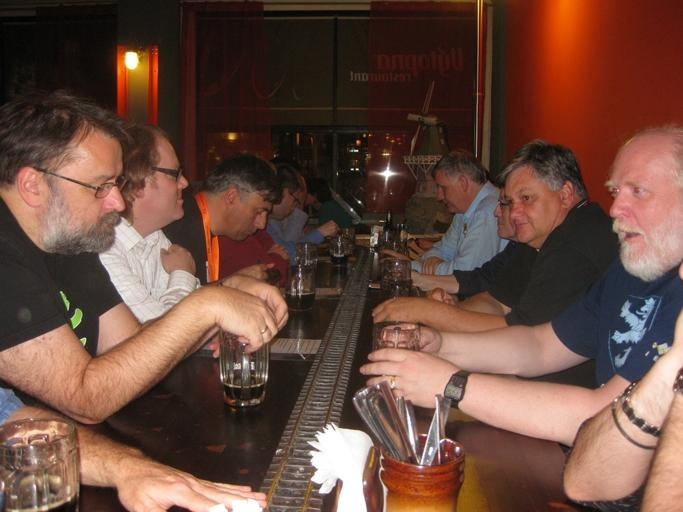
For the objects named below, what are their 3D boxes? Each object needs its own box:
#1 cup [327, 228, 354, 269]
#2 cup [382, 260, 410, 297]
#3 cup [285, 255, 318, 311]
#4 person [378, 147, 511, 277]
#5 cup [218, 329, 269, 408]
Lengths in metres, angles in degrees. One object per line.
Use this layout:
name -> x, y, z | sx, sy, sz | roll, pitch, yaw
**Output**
cup -> -0.043, -0.041, 3.954 | 0.175, 0.294, 0.290 | 2, 8, -1
cup -> 0.277, 0.114, 2.935 | 0.176, 0.201, 0.176 | 2, -4, 0
cup -> -0.178, 0.135, 2.540 | 0.140, 0.204, 0.131 | 2, 14, 0
person -> 0.904, -0.349, 4.358 | 0.756, 0.791, 0.577 | -1, 20, 11
cup -> -0.269, 0.307, 1.632 | 0.139, 0.214, 0.136 | 2, 10, 0
